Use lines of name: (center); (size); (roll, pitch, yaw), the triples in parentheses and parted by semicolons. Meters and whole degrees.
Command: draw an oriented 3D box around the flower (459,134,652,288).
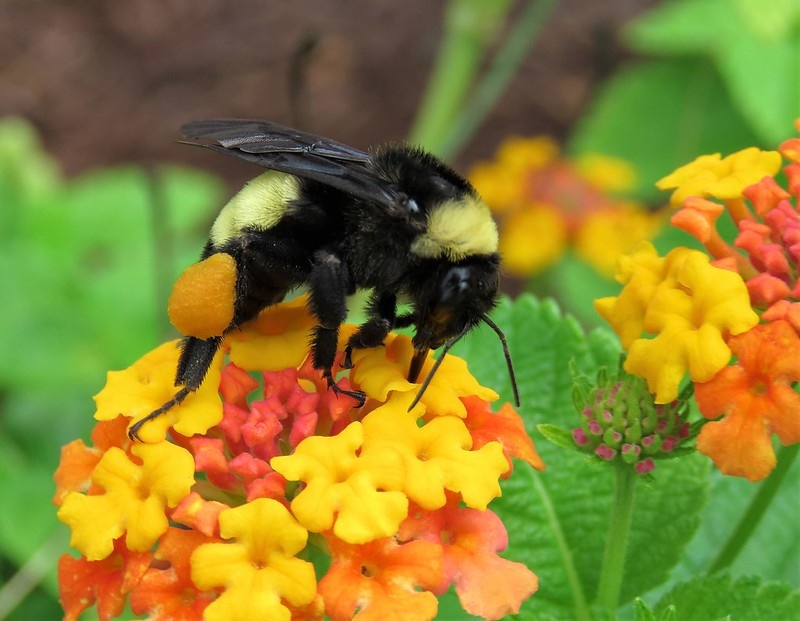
flower: (0.488, -0.322, 3.000); (0.523, 0.148, 0.416); (-11, 41, -31)
